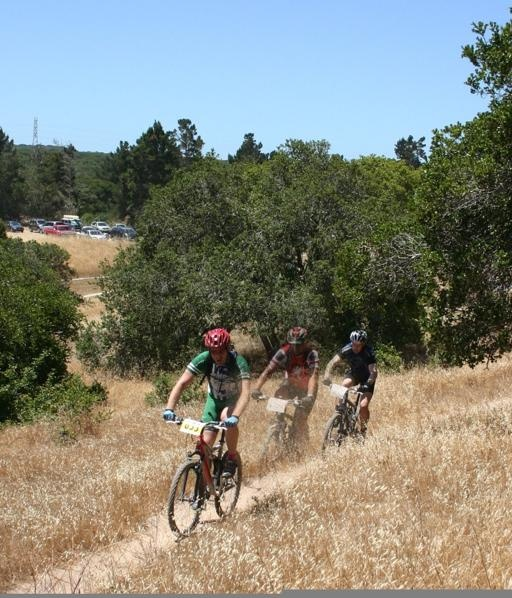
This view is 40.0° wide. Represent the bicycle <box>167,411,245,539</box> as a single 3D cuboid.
[{"bbox_3d":[-0.546,1.903,7.698,0.514,1.317,1.251,4,5,25],"label":"bicycle"}]

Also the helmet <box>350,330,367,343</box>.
[{"bbox_3d":[1.451,0.523,9.958,0.195,0.181,0.547,3,5,12],"label":"helmet"}]

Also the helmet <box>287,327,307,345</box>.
[{"bbox_3d":[0.544,0.472,9.275,0.156,0.149,0.275,1,37,8],"label":"helmet"}]

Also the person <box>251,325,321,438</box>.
[{"bbox_3d":[0.489,1.261,9.565,0.626,1.885,1.078,9,23,20],"label":"person"}]

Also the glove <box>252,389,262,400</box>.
[{"bbox_3d":[0.015,1.196,8.610,0.128,0.103,0.274,3,5,5],"label":"glove"}]

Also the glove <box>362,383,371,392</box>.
[{"bbox_3d":[1.484,1.203,9.468,0.081,0.142,0.167,-2,-9,-11],"label":"glove"}]

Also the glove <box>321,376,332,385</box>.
[{"bbox_3d":[0.990,1.157,9.847,0.079,0.102,0.087,2,-1,28],"label":"glove"}]

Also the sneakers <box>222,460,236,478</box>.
[{"bbox_3d":[-0.312,1.911,7.869,0.115,0.186,0.390,-1,-9,2],"label":"sneakers"}]

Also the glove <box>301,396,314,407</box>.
[{"bbox_3d":[0.655,1.302,8.880,0.121,0.140,0.138,2,3,-7],"label":"glove"}]

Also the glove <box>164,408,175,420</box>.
[{"bbox_3d":[-0.928,1.261,7.506,0.117,0.155,0.334,1,5,-8],"label":"glove"}]

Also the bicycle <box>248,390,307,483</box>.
[{"bbox_3d":[0.283,1.934,9.771,0.659,1.075,1.527,6,-15,13],"label":"bicycle"}]

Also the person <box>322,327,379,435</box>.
[{"bbox_3d":[1.417,1.258,10.069,0.631,1.676,0.931,11,20,44],"label":"person"}]

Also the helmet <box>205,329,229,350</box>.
[{"bbox_3d":[-0.423,0.456,7.786,0.263,0.245,0.393,2,5,-3],"label":"helmet"}]

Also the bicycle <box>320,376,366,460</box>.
[{"bbox_3d":[1.210,1.558,9.605,0.551,0.816,1.333,3,5,10],"label":"bicycle"}]
